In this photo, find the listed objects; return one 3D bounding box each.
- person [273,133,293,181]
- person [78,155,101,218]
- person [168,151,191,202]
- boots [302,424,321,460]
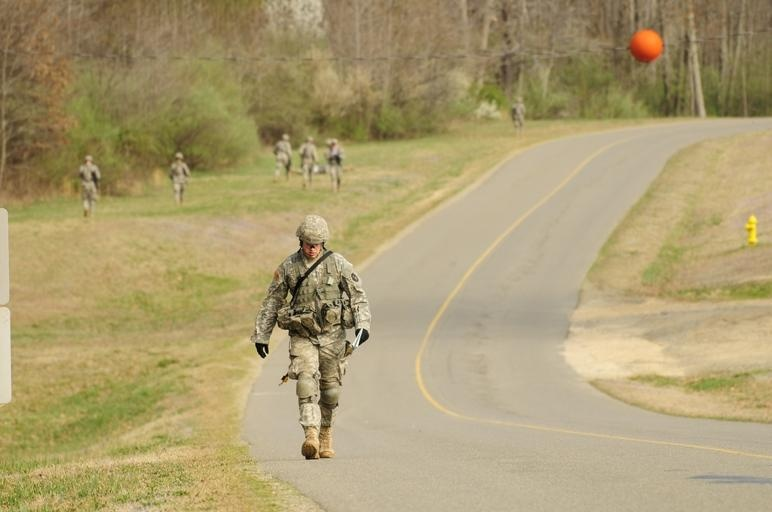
[{"bbox_3d":[-4.577,-4.345,65.716,0.845,1.882,0.711,0,10,12],"label":"person"},{"bbox_3d":[-12.499,-2.935,63.153,0.820,2.569,0.973,-5,10,-20],"label":"person"},{"bbox_3d":[-8.838,-3.323,64.215,0.747,2.186,0.877,-3,10,-8],"label":"person"},{"bbox_3d":[-2.213,5.401,43.712,0.468,1.143,0.582,-2,10,1],"label":"boots"}]
